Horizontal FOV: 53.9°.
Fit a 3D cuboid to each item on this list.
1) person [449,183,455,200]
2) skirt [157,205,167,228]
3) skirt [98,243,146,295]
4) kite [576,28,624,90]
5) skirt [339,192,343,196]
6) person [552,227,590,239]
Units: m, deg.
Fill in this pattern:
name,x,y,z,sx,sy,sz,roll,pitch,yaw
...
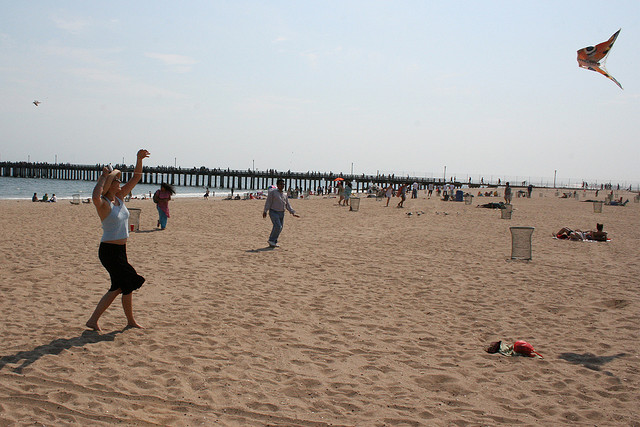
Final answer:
name,x,y,z,sx,sy,sz,roll,pitch,yaw
person,7.337,-1.170,34.919,0.332,0.696,0.904,5,13,11
skirt,-4.338,0.076,17.489,0.214,0.650,0.373,0,13,-13
skirt,-2.820,0.683,8.776,0.516,0.607,0.539,-6,-7,-18
kite,4.023,-2.261,9.081,0.443,0.623,0.890,6,13,13
skirt,1.236,-1.114,35.897,0.240,0.216,0.225,0,6,-2
person,6.847,0.588,17.120,0.908,0.288,0.526,9,14,27
